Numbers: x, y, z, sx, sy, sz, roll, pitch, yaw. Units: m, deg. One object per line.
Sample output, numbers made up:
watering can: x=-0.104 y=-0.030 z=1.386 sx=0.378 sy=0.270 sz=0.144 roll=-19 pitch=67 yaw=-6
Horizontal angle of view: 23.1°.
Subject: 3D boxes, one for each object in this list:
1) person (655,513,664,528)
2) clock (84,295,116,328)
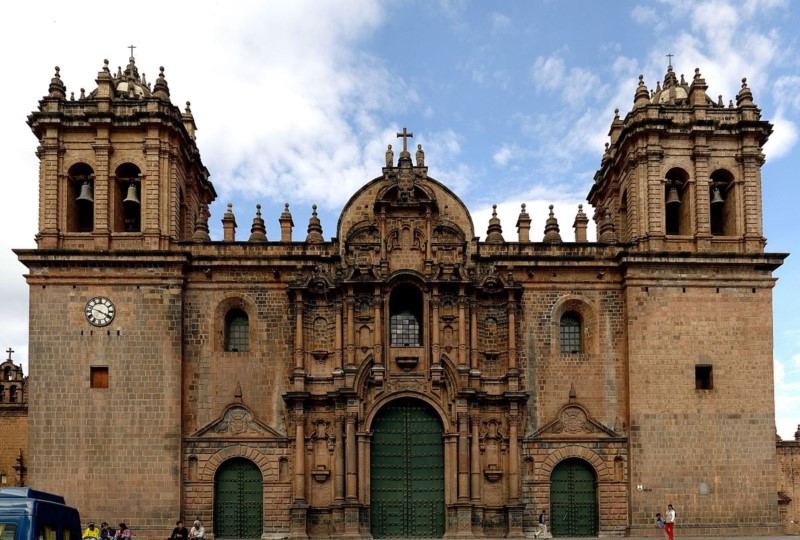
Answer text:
person: x=13.226 y=12.912 z=100.879 sx=0.345 sy=0.848 sz=1.032 roll=-3 pitch=-17 yaw=5
clock: x=-15.642 y=2.271 z=102.024 sx=1.769 sy=1.667 sz=0.229 roll=0 pitch=-16 yaw=-4
